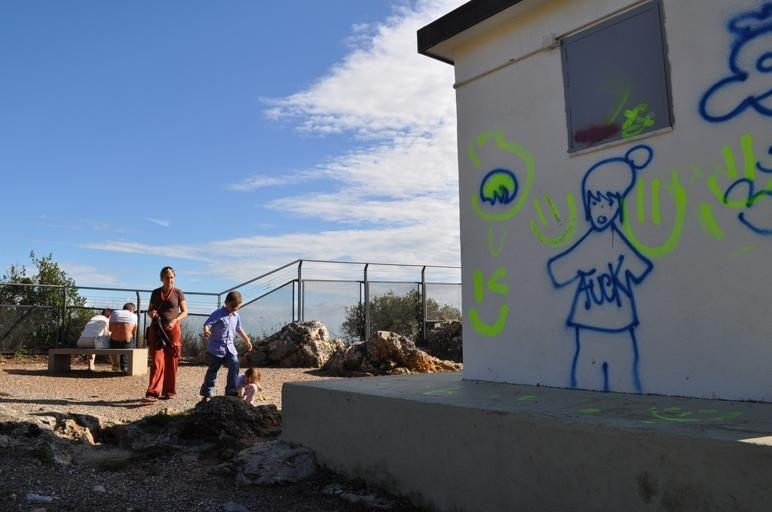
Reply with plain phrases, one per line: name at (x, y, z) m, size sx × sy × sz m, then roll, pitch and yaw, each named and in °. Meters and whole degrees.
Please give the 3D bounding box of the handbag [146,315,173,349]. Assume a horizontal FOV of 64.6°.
handbag at (-3.444, 1.169, 9.357) m, size 0.320 × 0.505 × 0.209 m, roll -5°, pitch 5°, yaw 15°

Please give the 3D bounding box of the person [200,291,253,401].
person at (-2.441, 1.367, 9.309) m, size 0.704 × 1.622 × 1.248 m, roll 2°, pitch -8°, yaw -16°

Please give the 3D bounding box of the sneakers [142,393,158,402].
sneakers at (-3.567, 2.167, 9.290) m, size 0.237 × 0.129 × 0.177 m, roll 5°, pitch -10°, yaw -32°

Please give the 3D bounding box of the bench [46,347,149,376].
bench at (-5.663, 2.098, 12.088) m, size 2.134 × 0.524 × 0.757 m, roll -3°, pitch -9°, yaw 19°
